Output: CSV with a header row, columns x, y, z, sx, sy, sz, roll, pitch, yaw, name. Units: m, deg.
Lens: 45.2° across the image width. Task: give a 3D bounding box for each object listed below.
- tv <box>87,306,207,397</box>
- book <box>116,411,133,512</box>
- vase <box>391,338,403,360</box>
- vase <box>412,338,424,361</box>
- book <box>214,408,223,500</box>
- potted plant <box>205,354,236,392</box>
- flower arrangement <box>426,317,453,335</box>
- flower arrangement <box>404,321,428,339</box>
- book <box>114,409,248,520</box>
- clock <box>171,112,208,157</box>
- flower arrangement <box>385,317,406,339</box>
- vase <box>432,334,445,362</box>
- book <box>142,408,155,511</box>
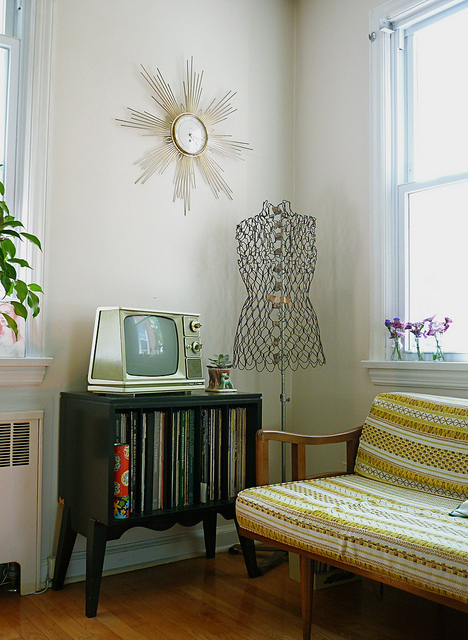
x,y,z,sx,sy,sz,roll,pitch,yaw,name
-0.292,0.114,1.975,0.415,0.313,0.286,2,-7,-13,tv
-0.360,0.470,1.851,0.062,0.327,0.032,2,-7,-11,book
0.699,0.131,2.440,0.052,0.091,0.071,-3,-8,23,vase
0.771,0.128,2.373,0.047,0.102,0.122,-2,-7,17,vase
-0.061,0.508,2.114,0.014,0.331,0.052,-3,-8,27,book
-0.069,0.221,2.280,0.151,0.186,0.133,2,-6,-14,potted plant
0.837,0.028,2.290,0.109,0.074,0.080,6,-9,-39,flower arrangement
0.755,0.037,2.350,0.074,0.073,0.073,11,-19,-18,flower arrangement
-0.233,0.493,2.052,0.221,0.400,0.626,-5,-11,38,book
-0.207,-0.828,2.524,0.026,0.222,0.227,1,4,43,clock
0.686,0.046,2.417,0.086,0.084,0.081,0,-16,4,flower arrangement
0.835,0.118,2.314,0.049,0.111,0.061,-2,-8,19,vase
-0.293,0.480,1.928,0.036,0.331,0.096,2,-7,-9,book
